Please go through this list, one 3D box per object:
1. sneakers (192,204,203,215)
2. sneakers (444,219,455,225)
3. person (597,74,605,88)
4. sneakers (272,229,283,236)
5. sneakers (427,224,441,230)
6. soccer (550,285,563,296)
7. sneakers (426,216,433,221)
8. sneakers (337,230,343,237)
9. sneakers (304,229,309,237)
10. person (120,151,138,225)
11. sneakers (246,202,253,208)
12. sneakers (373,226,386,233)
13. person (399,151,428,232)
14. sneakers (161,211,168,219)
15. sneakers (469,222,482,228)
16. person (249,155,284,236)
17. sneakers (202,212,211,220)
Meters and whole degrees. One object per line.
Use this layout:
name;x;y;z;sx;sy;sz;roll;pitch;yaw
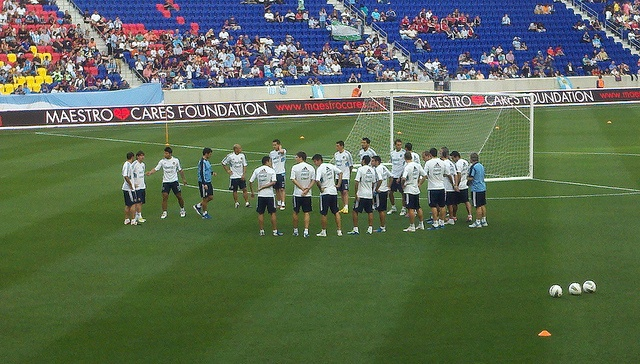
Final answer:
sneakers;-4.884;1.112;27.139;0.279;0.407;0.135;-33;21;27
sneakers;5.014;1.530;26.010;0.159;0.142;0.348;-3;8;-24
person;21.017;-7.503;50.808;0.529;0.869;1.016;0;12;21
sneakers;-1.588;1.903;25.451;0.451;0.279;0.154;-2;13;-5
sneakers;4.308;1.685;25.680;0.562;0.223;0.181;4;10;22
soccer;7.575;3.489;21.729;0.298;0.285;0.363;-1;2;8
sneakers;4.297;1.420;26.606;0.202;0.219;0.589;-1;-2;21
sneakers;0.747;1.913;25.359;0.226;0.151;0.373;-1;7;-1
sneakers;-0.492;1.899;25.196;0.169;0.252;0.279;3;8;7
person;-7.398;0.268;26.245;0.625;2.754;0.520;-7;12;-13
sneakers;-2.915;0.949;27.909;0.193;0.204;0.497;1;6;2
sneakers;2.262;1.778;25.655;0.509;0.196;0.158;2;1;11
person;3.570;0.345;25.685;0.924;2.867;1.076;-3;11;8
sneakers;-6.193;1.282;27.019;0.262;0.274;0.425;-6;11;-13
sneakers;5.916;1.628;25.759;0.492;0.196;0.178;1;3;20
person;-2.015;0.538;25.504;0.952;2.906;0.958;-6;11;-9
sneakers;-4.506;1.340;26.877;0.439;0.270;0.152;-1;12;-7
